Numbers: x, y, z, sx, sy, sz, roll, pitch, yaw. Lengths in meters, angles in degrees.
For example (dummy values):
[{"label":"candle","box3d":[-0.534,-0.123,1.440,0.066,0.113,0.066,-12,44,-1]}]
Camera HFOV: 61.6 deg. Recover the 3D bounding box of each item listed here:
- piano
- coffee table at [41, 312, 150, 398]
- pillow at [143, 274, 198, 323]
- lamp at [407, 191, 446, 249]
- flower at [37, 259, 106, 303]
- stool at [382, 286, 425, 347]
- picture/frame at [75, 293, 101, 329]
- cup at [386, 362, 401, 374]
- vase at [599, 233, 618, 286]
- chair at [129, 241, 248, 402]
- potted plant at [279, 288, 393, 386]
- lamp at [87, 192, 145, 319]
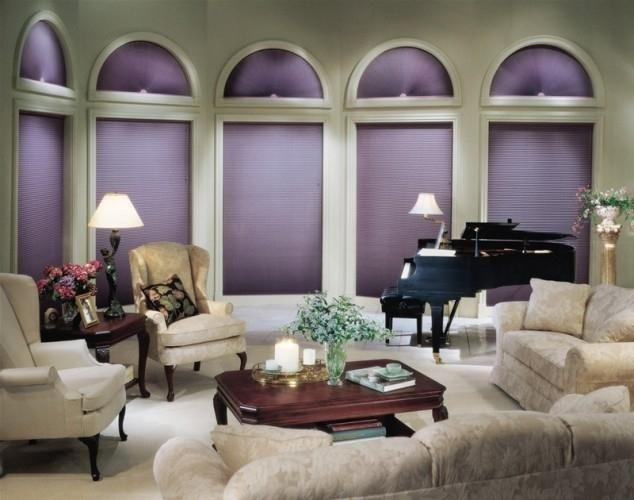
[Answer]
[{"label":"piano","box3d":[1.876,0.350,5.730,1.858,1.446,1.348,-1,2,0]},{"label":"coffee table","box3d":[-1.684,0.702,4.148,0.698,0.561,0.615,1,1,20]},{"label":"pillow","box3d":[-1.259,0.433,4.576,0.112,0.356,0.372,-35,-12,28]},{"label":"lamp","box3d":[1.367,-0.286,6.645,0.521,0.828,0.471,4,-4,20]},{"label":"flower","box3d":[-1.925,0.237,4.196,0.373,0.277,0.396,-1,9,-4]},{"label":"stool","box3d":[0.932,0.701,5.985,0.505,0.574,0.646,1,0,8]},{"label":"picture/frame","box3d":[-1.768,0.475,4.102,0.029,0.295,0.248,-15,2,24]},{"label":"cup","box3d":[0.473,0.729,3.279,0.059,0.036,0.059,3,0,0]},{"label":"vase","box3d":[3.634,0.099,6.684,0.188,0.657,0.263,3,7,28]},{"label":"chair","box3d":[-1.155,0.565,4.686,0.951,1.208,0.950,1,3,18]},{"label":"potted plant","box3d":[0.161,0.560,3.341,0.528,0.494,0.338,11,-2,-32]},{"label":"lamp","box3d":[-1.728,0.074,4.625,0.476,1.048,0.508,-3,-3,27]}]
